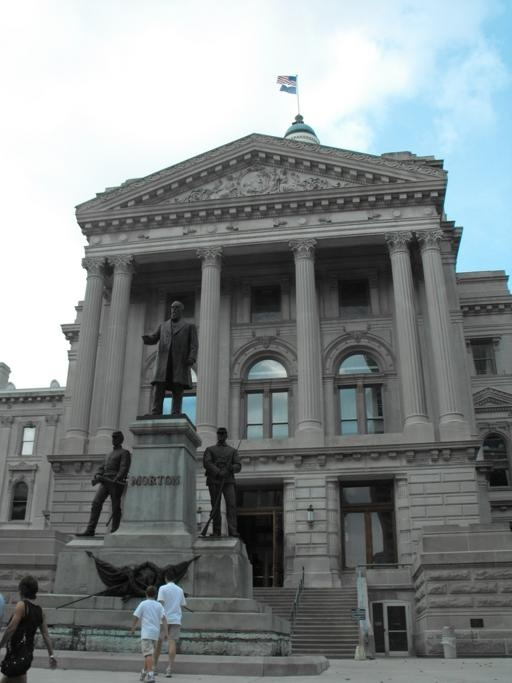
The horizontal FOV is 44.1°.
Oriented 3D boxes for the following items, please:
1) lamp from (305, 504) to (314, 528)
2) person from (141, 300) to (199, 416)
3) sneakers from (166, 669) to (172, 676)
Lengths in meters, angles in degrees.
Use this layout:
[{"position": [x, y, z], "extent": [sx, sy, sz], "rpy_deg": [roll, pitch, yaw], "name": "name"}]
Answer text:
[{"position": [2.346, 7.689, 27.767], "extent": [0.331, 1.043, 0.363], "rpy_deg": [20, -31, -31], "name": "lamp"}, {"position": [-1.726, 0.390, 12.763], "extent": [0.946, 2.354, 0.541], "rpy_deg": [7, -27, -9], "name": "person"}, {"position": [-0.984, 3.727, 7.069], "extent": [0.042, 0.042, 0.150], "rpy_deg": [6, -32, -9], "name": "sneakers"}]
